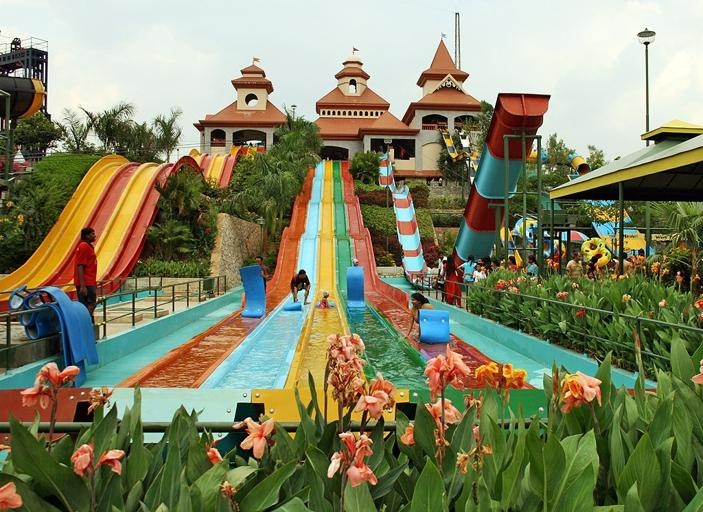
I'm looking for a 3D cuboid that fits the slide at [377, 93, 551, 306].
[{"bbox_3d":[4.018,-2.136,22.302,2.031,14.535,2.008,4,37,-6],"label":"slide"}]

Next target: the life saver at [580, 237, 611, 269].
[{"bbox_3d":[6.725,-0.063,15.802,0.556,0.225,0.773,-12,39,21],"label":"life saver"}]

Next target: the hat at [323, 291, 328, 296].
[{"bbox_3d":[-0.580,0.874,13.035,0.083,0.097,0.091,0,-3,-36],"label":"hat"}]

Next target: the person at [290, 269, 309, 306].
[{"bbox_3d":[-1.334,0.844,14.726,0.427,1.016,0.752,-2,31,-5],"label":"person"}]
